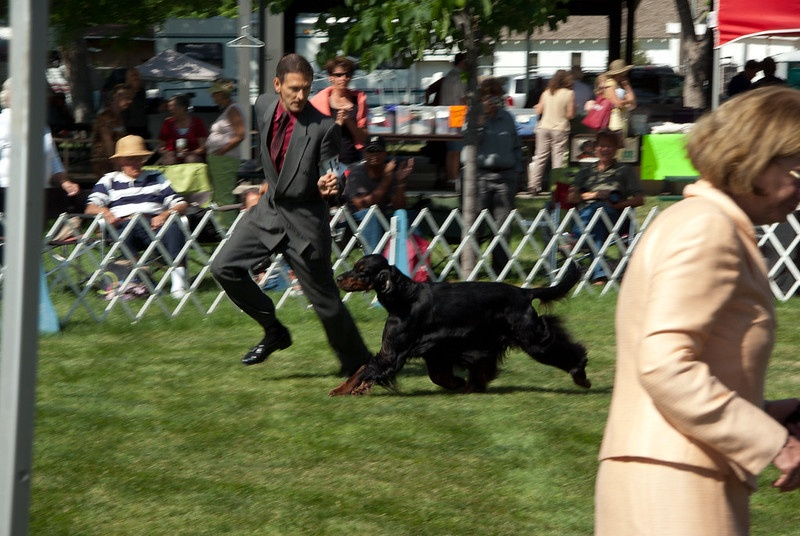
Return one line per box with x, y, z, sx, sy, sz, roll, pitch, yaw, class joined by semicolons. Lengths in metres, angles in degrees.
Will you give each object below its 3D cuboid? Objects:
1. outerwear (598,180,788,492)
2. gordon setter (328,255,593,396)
0.915;0.228;2.678;0.519;0.855;0.346;4;16;10;outerwear
0.374;0.388;6.011;2.129;0.816;0.515;3;4;-31;gordon setter
